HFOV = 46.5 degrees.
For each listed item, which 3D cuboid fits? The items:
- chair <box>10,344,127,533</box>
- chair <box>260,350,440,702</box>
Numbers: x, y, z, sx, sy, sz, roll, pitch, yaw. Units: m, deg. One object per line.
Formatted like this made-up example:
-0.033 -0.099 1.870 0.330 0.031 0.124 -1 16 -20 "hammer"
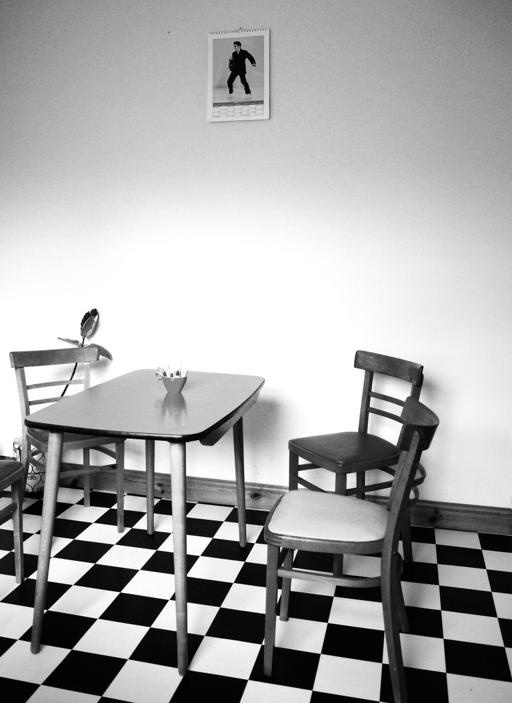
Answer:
-0.870 0.392 2.818 0.494 0.849 0.523 -3 -3 -4 "chair"
0.334 0.544 2.211 0.567 0.896 1.152 2 8 13 "chair"
